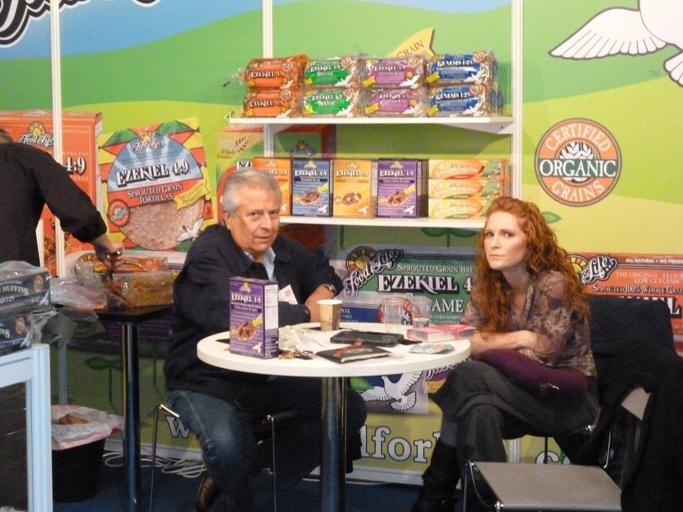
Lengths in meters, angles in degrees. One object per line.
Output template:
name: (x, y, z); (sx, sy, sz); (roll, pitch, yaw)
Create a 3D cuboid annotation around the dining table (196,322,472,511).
dining table: (-0.050, 0.563, 2.995); (0.915, 0.906, 0.859); (0, -1, -5)

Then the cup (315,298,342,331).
cup: (-0.051, 0.249, 3.078); (0.123, 0.111, 0.118); (0, 2, 0)

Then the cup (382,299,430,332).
cup: (0.264, 0.247, 3.037); (0.153, 0.088, 0.125); (-2, -3, 27)

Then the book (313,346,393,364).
book: (0.049, 0.367, 2.696); (0.267, 0.040, 0.142); (-1, 5, -24)
